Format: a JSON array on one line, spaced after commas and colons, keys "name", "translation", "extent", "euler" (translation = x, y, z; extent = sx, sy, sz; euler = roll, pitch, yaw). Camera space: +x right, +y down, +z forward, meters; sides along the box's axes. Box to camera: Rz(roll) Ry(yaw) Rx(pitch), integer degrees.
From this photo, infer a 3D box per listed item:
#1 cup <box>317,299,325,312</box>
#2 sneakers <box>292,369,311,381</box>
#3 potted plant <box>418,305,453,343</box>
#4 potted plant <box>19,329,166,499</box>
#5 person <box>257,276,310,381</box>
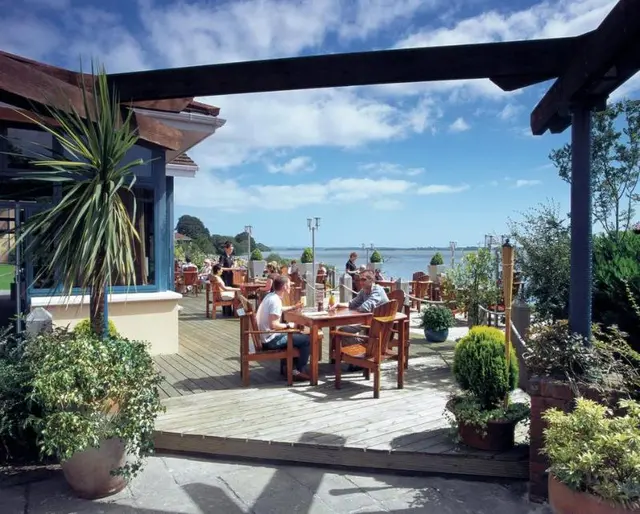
[{"name": "cup", "translation": [0.015, 0.667, 6.835], "extent": [0.092, 0.139, 0.130], "euler": [0, 1, -18]}, {"name": "sneakers", "translation": [-0.235, 1.522, 6.379], "extent": [0.256, 0.104, 0.096], "euler": [-5, -5, 19]}, {"name": "potted plant", "translation": [2.057, 1.196, 9.121], "extent": [0.589, 0.670, 0.578], "euler": [1, -3, -18]}, {"name": "potted plant", "translation": [-1.715, 1.144, 4.350], "extent": [1.279, 1.598, 1.096], "euler": [2, -6, -27]}, {"name": "person", "translation": [-0.489, 0.897, 6.437], "extent": [0.683, 1.334, 0.666], "euler": [1, 2, -11]}]
